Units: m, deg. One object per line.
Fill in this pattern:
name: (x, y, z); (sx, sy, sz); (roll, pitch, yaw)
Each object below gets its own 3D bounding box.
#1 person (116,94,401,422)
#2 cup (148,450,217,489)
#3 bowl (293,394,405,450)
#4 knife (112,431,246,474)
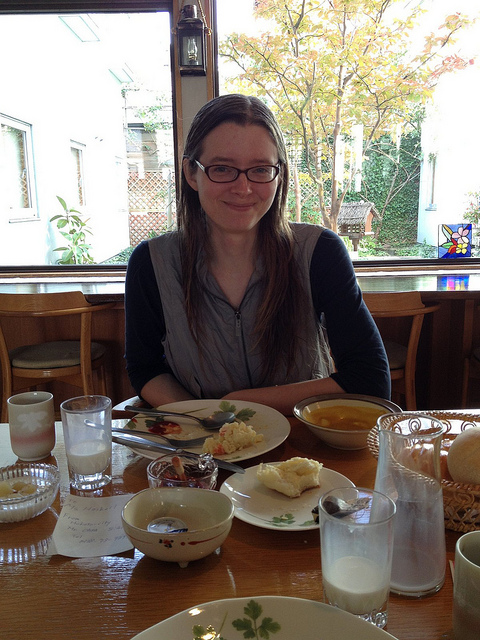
person: (0.016, -0.166, 1.296); (0.652, 0.828, 0.641); (-7, 13, -13)
cup: (-0.079, 0.195, 0.723); (0.078, 0.033, 0.069); (7, 13, 17)
bowl: (0.198, 0.190, 0.937); (0.185, 0.060, 0.179); (-4, 9, 1)
knife: (-0.101, 0.221, 0.840); (0.253, 0.012, 0.033); (9, 49, 27)
